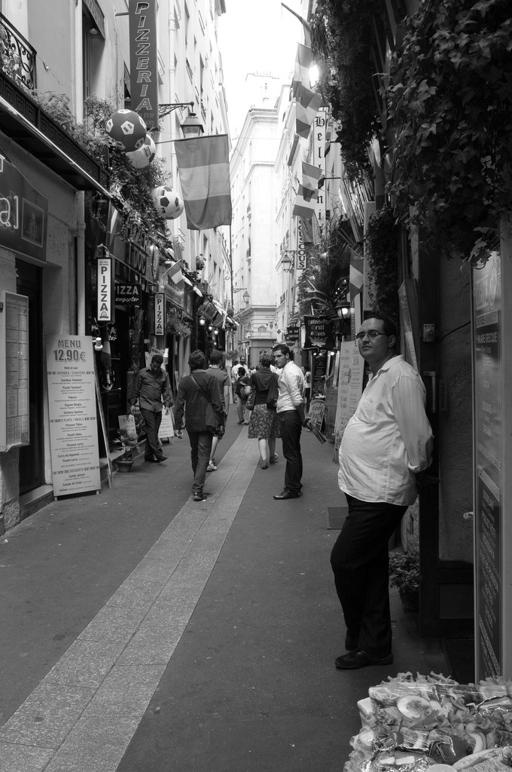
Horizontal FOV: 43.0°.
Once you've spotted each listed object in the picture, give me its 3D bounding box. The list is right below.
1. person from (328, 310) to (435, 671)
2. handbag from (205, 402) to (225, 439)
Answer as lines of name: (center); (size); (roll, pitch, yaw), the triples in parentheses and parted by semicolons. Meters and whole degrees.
person: (0.638, 0.540, 3.302); (0.493, 1.804, 0.392); (0, 0, 20)
handbag: (-0.521, 0.413, 8.357); (0.209, 0.649, 0.373); (0, 10, -7)
